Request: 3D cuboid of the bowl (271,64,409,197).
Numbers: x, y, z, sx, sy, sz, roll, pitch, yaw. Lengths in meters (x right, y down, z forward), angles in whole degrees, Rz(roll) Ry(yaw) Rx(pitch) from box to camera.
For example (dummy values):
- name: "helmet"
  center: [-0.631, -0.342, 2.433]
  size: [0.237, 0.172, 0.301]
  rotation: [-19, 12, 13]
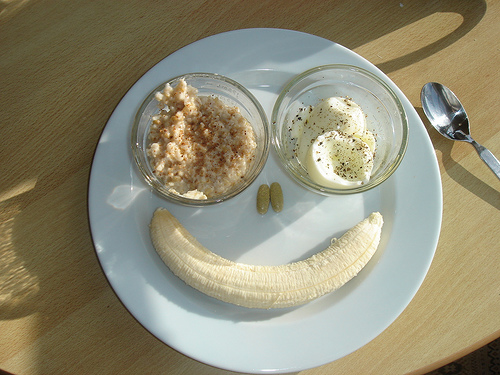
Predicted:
- name: "bowl"
  center: [0.239, -0.127, 1.113]
  size: [0.362, 0.170, 0.379]
  rotation: [0, 82, 3]

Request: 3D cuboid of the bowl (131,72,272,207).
- name: "bowl"
  center: [-0.128, -0.129, 1.188]
  size: [0.361, 0.120, 0.349]
  rotation: [0, 89, -1]
